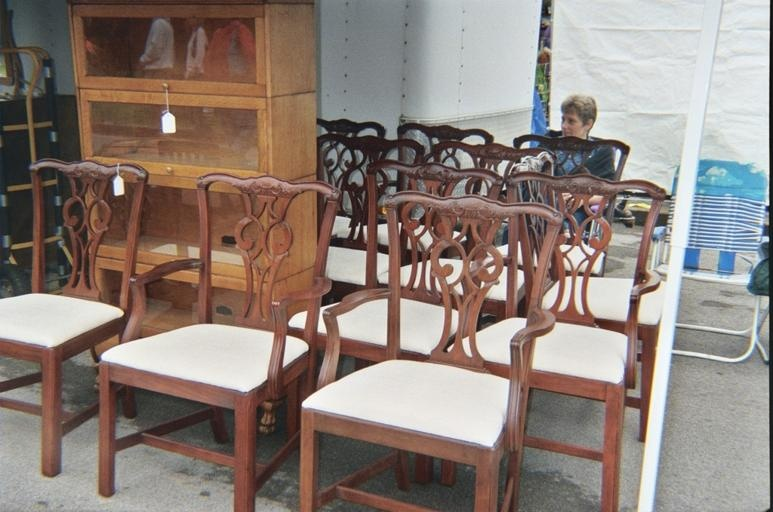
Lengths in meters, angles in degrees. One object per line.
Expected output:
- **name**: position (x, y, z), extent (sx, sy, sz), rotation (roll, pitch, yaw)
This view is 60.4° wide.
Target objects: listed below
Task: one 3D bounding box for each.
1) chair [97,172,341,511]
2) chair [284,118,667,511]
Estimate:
- **chair**: position (-0.724, 0.335, 3.292), extent (0.974, 1.442, 1.111), rotation (6, 15, 17)
- **chair**: position (1.011, 0.154, 3.841), extent (1.080, 1.564, 2.310), rotation (7, 15, 22)
